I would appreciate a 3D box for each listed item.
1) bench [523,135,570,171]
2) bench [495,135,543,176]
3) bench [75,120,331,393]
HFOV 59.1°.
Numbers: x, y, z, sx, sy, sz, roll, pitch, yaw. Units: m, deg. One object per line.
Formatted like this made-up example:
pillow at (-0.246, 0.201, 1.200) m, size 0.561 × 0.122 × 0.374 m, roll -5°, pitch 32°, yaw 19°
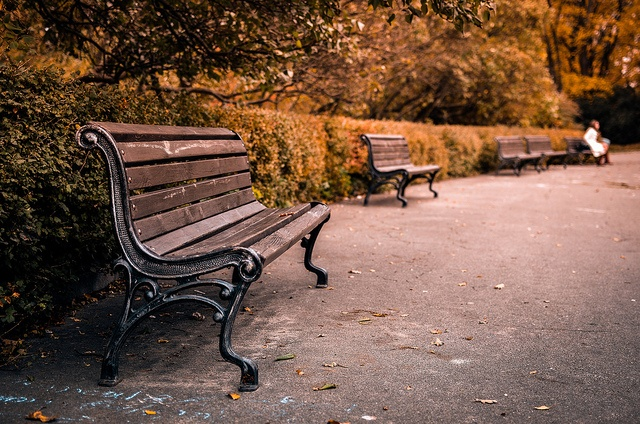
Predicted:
bench at (8.942, -2.312, 22.509) m, size 0.915 × 1.142 × 2.010 m, roll 4°, pitch 5°, yaw 40°
bench at (7.262, -2.106, 20.714) m, size 0.809 × 0.971 × 1.903 m, roll 4°, pitch 6°, yaw 34°
bench at (-0.972, 0.164, 6.468) m, size 1.621 × 2.130 × 3.819 m, roll 3°, pitch 8°, yaw 8°
